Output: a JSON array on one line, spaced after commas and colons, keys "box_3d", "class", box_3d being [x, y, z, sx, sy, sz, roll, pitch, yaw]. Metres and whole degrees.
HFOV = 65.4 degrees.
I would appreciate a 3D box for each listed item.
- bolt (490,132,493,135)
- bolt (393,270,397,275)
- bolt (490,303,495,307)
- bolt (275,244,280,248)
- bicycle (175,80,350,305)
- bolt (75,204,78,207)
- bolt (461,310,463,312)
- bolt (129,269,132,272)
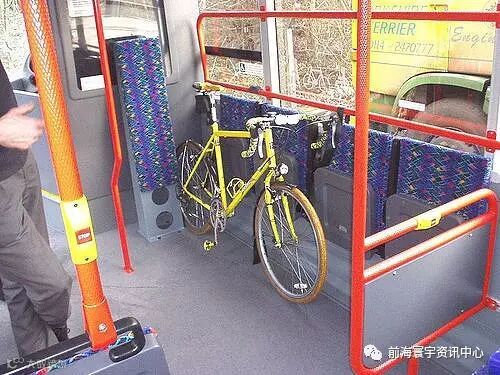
[{"box_3d": [1.388, -0.315, 2.228, 0.017, 0.018, 0.004, 4, 8, 43], "class": "bolt"}, {"box_3d": [0.657, 0.384, 1.768, 0.013, 0.013, 0.020, -14, 5, -4], "class": "bolt"}, {"box_3d": [1.428, 0.690, 2.284, 0.030, 0.018, 0.017, 2, 15, 17], "class": "bolt"}, {"box_3d": [0.216, 0.460, 3.113, 0.031, 0.008, 0.030, 3, 14, 8], "class": "bolt"}, {"box_3d": [0.033, -0.072, 3.494, 0.809, 1.581, 2.026, -18, 28, -35], "class": "bicycle"}, {"box_3d": [-0.542, 0.054, 1.203, 0.009, 0.009, 0.002, 19, 6, -1], "class": "bolt"}, {"box_3d": [1.192, 0.691, 2.182, 0.018, 0.018, 0.004, -2, 7, -3], "class": "bolt"}, {"box_3d": [-1.131, 0.774, 3.636, 0.025, 0.024, 0.006, 3, -9, -1], "class": "bolt"}]
